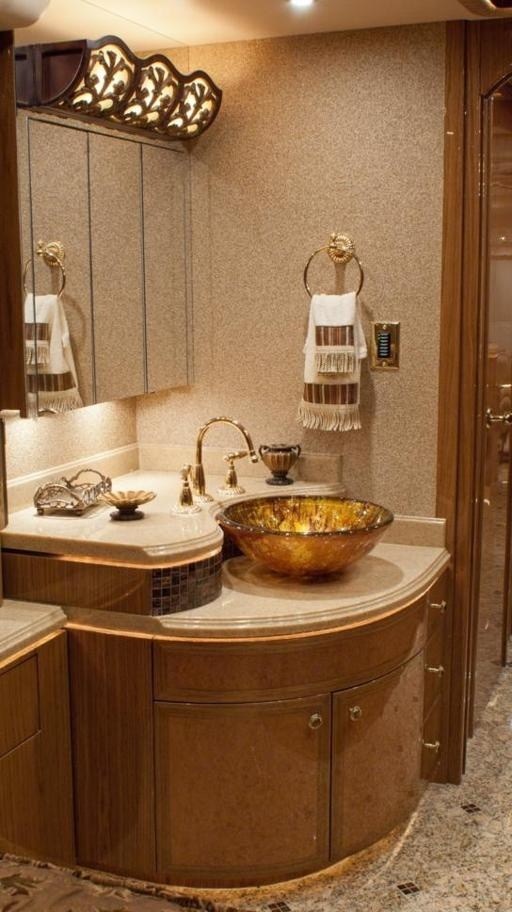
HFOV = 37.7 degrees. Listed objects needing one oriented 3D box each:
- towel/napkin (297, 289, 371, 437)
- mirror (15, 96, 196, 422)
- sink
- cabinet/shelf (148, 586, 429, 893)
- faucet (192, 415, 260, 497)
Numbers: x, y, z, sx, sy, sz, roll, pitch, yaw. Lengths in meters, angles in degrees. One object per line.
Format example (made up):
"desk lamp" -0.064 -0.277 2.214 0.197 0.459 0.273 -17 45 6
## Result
"towel/napkin" 0.231 -0.300 2.407 0.209 0.430 0.104 3 7 17
"mirror" -0.371 -0.594 2.327 0.015 0.768 0.714 2 8 40
"sink" 0.145 0.238 2.137 0.479 0.187 0.518 -2 10 -3
"cabinet/shelf" 0.095 0.717 2.025 0.700 0.641 0.419 -6 9 -28
"faucet" -0.111 0.010 2.391 0.217 0.325 0.088 1 38 -1
